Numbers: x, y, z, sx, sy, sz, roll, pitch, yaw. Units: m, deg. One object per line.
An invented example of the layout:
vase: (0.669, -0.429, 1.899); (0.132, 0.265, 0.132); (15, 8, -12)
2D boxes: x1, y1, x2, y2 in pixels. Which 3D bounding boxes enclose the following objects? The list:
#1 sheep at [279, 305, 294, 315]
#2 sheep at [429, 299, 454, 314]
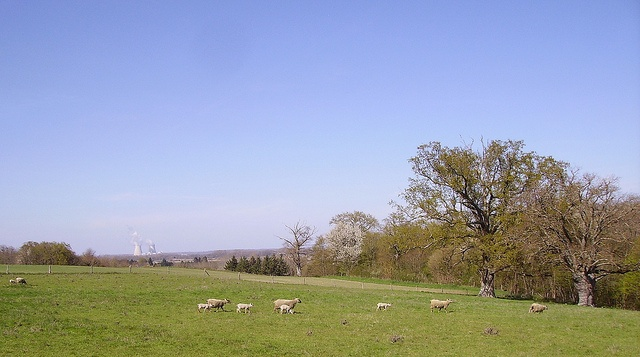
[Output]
sheep: (-4.493, 17.735, 72.762); (1.736, 1.031, 1.015); (2, 2, -9)
sheep: (17.324, 18.324, 77.675); (2.305, 1.499, 4.217); (4, 3, 40)
